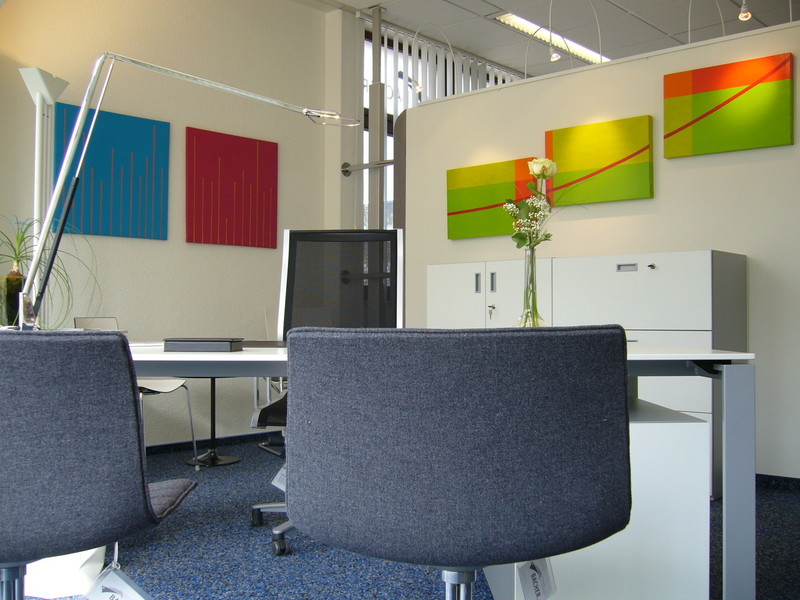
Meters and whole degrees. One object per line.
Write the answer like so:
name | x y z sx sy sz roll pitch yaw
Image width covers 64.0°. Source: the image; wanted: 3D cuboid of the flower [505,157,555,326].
flower | 0.516 -0.240 2.545 0.193 0.626 0.188 6 8 42
